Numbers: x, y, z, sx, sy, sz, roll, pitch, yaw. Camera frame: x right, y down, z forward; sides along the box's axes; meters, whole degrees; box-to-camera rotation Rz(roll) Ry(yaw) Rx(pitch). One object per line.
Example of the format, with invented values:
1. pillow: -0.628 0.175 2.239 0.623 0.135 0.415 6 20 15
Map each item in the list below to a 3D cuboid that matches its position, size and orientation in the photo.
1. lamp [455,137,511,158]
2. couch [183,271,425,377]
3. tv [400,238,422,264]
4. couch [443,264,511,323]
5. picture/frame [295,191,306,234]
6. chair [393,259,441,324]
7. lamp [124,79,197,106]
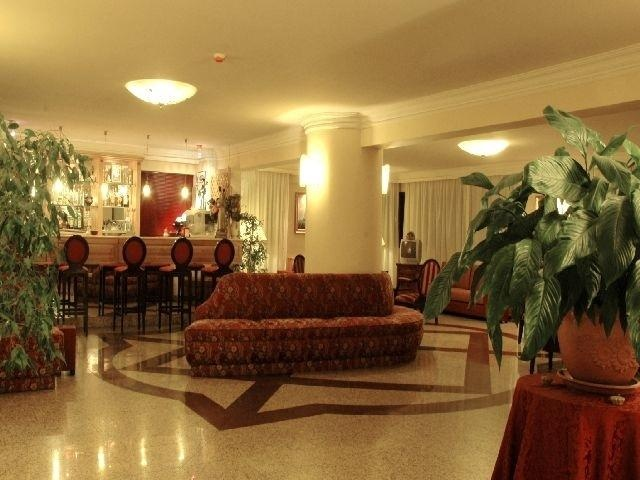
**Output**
1. lamp: 2.521 -1.459 7.411 0.552 0.195 0.594 0 -1 18
2. couch: -0.105 0.984 5.680 2.831 1.126 0.882 1 -1 -19
3. tv: 2.234 0.302 11.782 0.604 0.517 0.896 1 -18 12
4. couch: 2.911 0.997 9.477 0.715 0.950 1.343 -15 8 -39
5. picture/frame: -0.444 -0.681 11.911 0.052 1.020 0.826 0 4 -23
6. chair: 1.779 0.954 8.723 0.661 1.237 0.784 -1 -7 33
7. lamp: -1.786 -1.691 5.382 0.440 0.143 0.476 2 1 9
